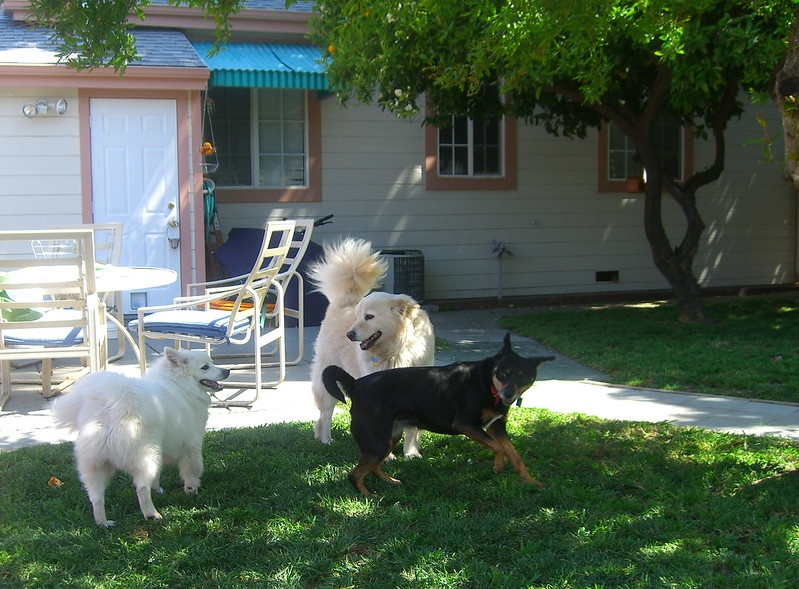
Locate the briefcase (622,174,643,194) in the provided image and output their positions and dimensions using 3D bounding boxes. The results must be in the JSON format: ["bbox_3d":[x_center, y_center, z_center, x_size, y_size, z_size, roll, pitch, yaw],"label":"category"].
[{"bbox_3d":[3.920,-1.783,15.394,0.422,0.393,0.231,0,0,-7],"label":"briefcase"}]

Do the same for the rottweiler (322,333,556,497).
[{"bbox_3d":[0.252,0.866,6.638,1.542,1.128,0.426,0,9,7],"label":"rottweiler"}]

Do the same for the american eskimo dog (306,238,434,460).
[{"bbox_3d":[-0.225,0.450,7.801,1.025,1.843,2.502,-7,6,-14],"label":"american eskimo dog"}]

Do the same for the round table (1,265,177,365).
[{"bbox_3d":[-2.761,0.052,8.654,1.167,1.135,1.154,0,3,0],"label":"round table"}]

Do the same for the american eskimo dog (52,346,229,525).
[{"bbox_3d":[-1.720,0.860,6.389,0.992,1.227,0.977,11,12,34],"label":"american eskimo dog"}]

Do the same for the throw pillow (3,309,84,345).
[{"bbox_3d":[-3.220,0.331,8.434,0.655,0.377,0.724,3,7,8],"label":"throw pillow"}]
